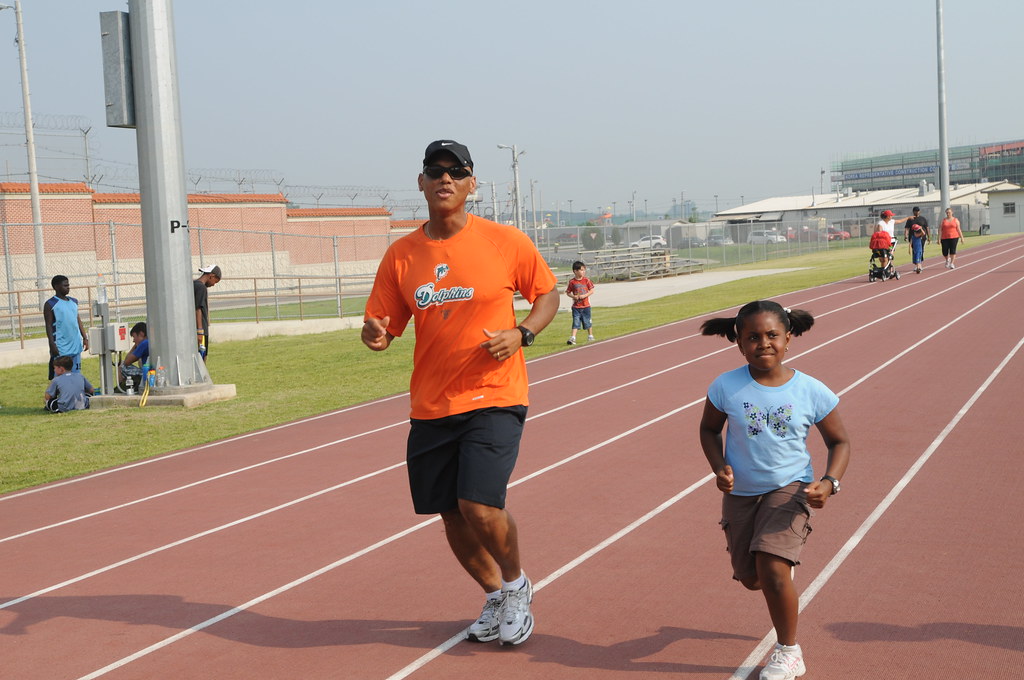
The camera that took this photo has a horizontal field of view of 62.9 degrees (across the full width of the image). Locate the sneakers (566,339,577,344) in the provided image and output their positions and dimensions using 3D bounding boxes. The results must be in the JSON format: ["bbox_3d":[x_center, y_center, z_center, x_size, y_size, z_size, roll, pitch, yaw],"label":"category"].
[{"bbox_3d":[1.321,0.031,18.395,0.178,0.118,0.345,-4,8,1],"label":"sneakers"}]

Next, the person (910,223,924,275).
[{"bbox_3d":[13.228,-2.999,27.362,0.420,1.572,1.495,0,9,25],"label":"person"}]

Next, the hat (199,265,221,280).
[{"bbox_3d":[-5.103,-1.155,14.323,0.255,0.202,0.395,-9,9,-31],"label":"hat"}]

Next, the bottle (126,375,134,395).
[{"bbox_3d":[-6.394,0.754,14.104,0.124,0.262,0.189,-5,8,-2],"label":"bottle"}]

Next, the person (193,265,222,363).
[{"bbox_3d":[-5.324,-0.495,14.800,0.489,1.611,1.277,-7,9,-19],"label":"person"}]

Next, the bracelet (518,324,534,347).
[{"bbox_3d":[0.086,-0.033,5.103,0.066,0.105,0.107,-39,41,-25],"label":"bracelet"}]

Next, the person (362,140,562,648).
[{"bbox_3d":[-0.233,0.355,5.184,1.106,3.127,0.639,-4,8,1],"label":"person"}]
